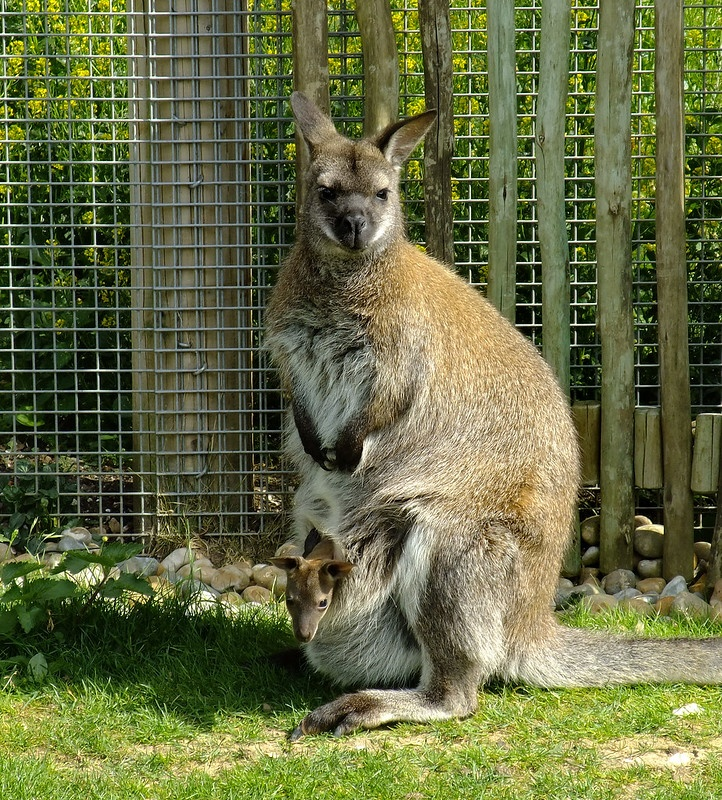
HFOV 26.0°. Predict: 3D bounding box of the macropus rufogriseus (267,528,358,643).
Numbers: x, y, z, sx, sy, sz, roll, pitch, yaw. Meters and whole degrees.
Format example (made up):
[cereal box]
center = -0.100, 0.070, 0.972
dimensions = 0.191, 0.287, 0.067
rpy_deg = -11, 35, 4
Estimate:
[macropus rufogriseus]
center = -0.209, 0.768, 6.334
dimensions = 0.311, 0.384, 0.489
rpy_deg = -1, 1, -16
